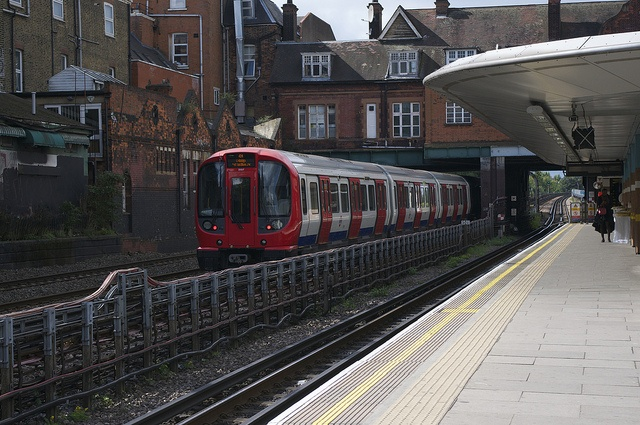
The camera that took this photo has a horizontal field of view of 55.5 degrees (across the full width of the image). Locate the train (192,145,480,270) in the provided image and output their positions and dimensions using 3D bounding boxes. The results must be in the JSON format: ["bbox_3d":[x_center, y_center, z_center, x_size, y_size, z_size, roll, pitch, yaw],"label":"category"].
[{"bbox_3d":[3.219,-0.648,30.506,3.283,3.958,27.147,-6,1,25],"label":"train"}]
